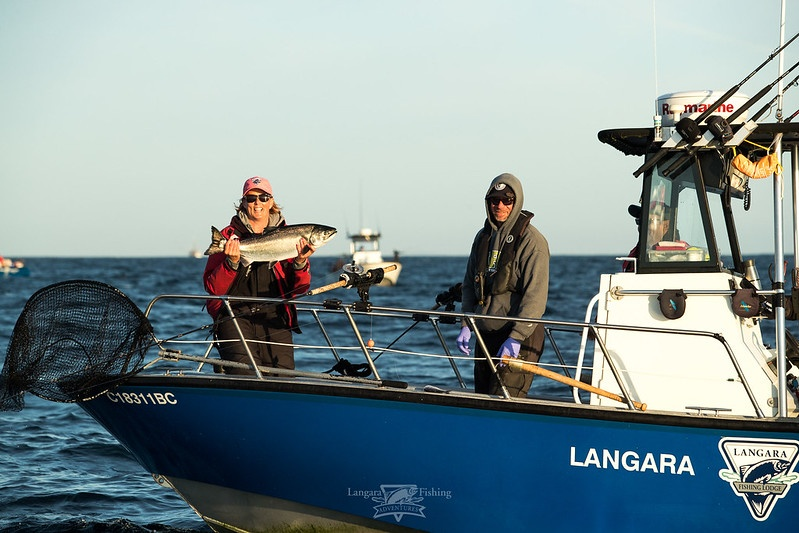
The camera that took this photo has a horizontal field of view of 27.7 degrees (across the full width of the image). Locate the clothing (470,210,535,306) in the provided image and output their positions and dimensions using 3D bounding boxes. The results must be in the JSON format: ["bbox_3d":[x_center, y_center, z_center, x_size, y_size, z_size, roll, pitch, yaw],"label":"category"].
[{"bbox_3d":[0.930,-0.053,15.320,0.303,1.069,0.659,8,-6,-34],"label":"clothing"}]

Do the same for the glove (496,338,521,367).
[{"bbox_3d":[1.027,0.803,15.036,0.073,0.233,0.237,25,-9,13],"label":"glove"}]
